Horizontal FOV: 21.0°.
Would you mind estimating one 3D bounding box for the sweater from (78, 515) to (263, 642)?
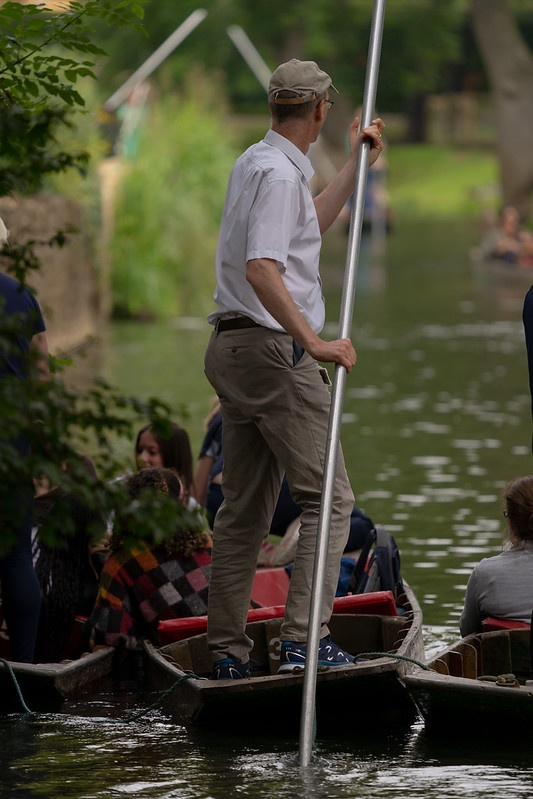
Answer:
[{"bbox_3d":[-0.323,0.580,4.823,0.608,0.411,0.278,-14,32,-14],"label":"sweater"}]

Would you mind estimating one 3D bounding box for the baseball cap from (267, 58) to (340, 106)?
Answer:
[{"bbox_3d":[0.088,-0.929,4.215,0.128,0.092,0.170,4,16,16],"label":"baseball cap"}]

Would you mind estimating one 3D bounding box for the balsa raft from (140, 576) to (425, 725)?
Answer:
[{"bbox_3d":[0.053,0.811,4.336,0.840,0.245,0.890,0,5,6],"label":"balsa raft"}]

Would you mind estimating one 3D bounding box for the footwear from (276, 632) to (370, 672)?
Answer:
[{"bbox_3d":[0.165,0.722,4.133,0.254,0.110,0.091,1,-3,-27],"label":"footwear"}]
